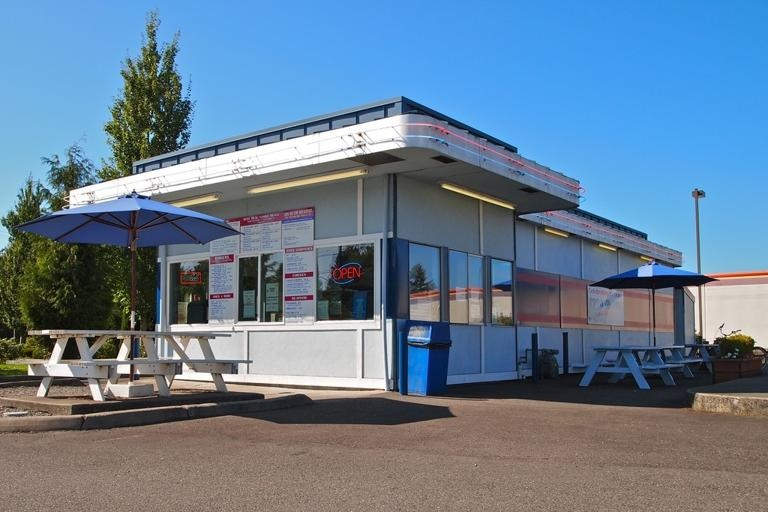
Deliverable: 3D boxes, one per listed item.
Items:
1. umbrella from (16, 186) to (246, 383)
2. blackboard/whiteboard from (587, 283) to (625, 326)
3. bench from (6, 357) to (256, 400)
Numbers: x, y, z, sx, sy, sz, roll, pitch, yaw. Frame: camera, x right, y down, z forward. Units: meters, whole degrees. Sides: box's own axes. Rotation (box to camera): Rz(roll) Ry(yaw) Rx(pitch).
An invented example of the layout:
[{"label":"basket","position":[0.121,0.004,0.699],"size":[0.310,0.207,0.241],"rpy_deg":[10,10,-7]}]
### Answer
[{"label":"umbrella","position":[-4.810,0.333,13.853],"size":[3.623,3.089,3.588],"rpy_deg":[-2,-3,-22]},{"label":"blackboard/whiteboard","position":[7.401,1.677,24.237],"size":[2.200,1.241,0.047],"rpy_deg":[8,-8,-41]},{"label":"bench","position":[-4.588,2.120,13.097],"size":[3.059,0.836,2.179],"rpy_deg":[-1,0,-42]}]
